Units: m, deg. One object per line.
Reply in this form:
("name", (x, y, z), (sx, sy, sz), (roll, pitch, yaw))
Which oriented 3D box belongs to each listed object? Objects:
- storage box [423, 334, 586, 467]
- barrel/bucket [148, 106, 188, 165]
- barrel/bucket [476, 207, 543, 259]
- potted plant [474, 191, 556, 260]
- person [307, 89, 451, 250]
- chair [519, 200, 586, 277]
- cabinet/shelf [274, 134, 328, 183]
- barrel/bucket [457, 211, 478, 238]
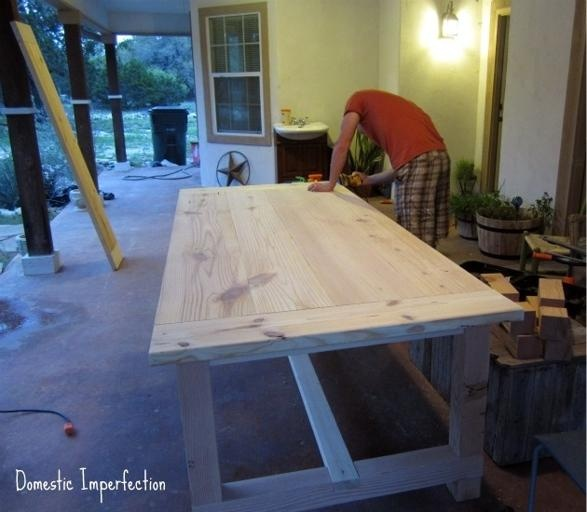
("storage box", (0.861, 0.581, 1.890), (0.376, 0.345, 0.688), (-4, 23, -10))
("barrel/bucket", (-3.011, -2.925, 11.624), (0.930, 1.390, 0.326), (-7, 18, -14))
("barrel/bucket", (1.922, -0.202, 4.277), (0.414, 0.278, 0.436), (-2, 14, 0))
("potted plant", (1.959, -0.284, 4.285), (0.526, 0.405, 0.551), (-6, 18, -8))
("person", (0.690, -0.442, 3.509), (0.888, 1.471, 0.720), (2, 4, 40))
("chair", (1.924, -0.128, 3.519), (0.501, 0.650, 0.458), (6, 20, 30))
("cabinet/shelf", (0.121, -1.079, 6.549), (0.649, 1.095, 0.404), (-2, -17, 0))
("barrel/bucket", (1.797, -0.327, 5.014), (0.244, 0.188, 0.219), (12, 25, 40))
